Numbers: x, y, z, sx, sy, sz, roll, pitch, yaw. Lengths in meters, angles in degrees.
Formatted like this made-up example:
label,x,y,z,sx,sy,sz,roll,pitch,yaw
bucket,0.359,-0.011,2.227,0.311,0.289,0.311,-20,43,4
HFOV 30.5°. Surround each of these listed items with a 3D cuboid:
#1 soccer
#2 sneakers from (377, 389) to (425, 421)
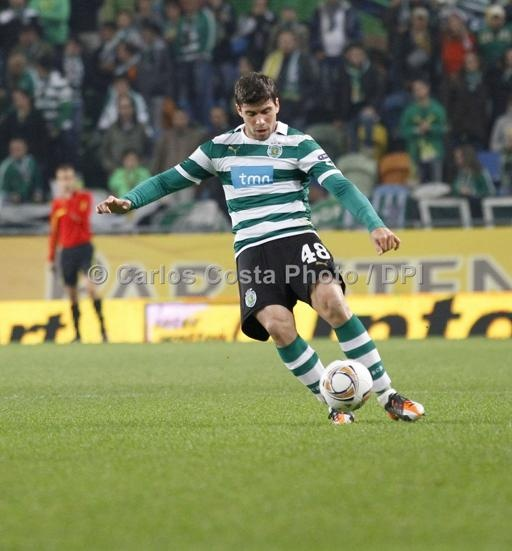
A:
label,x,y,z,sx,sy,sz,roll,pitch,yaw
soccer,0.519,0.608,5.111,0.347,0.265,0.279,3,-11,23
sneakers,0.790,0.715,5.112,0.102,0.102,0.249,-14,6,-28
